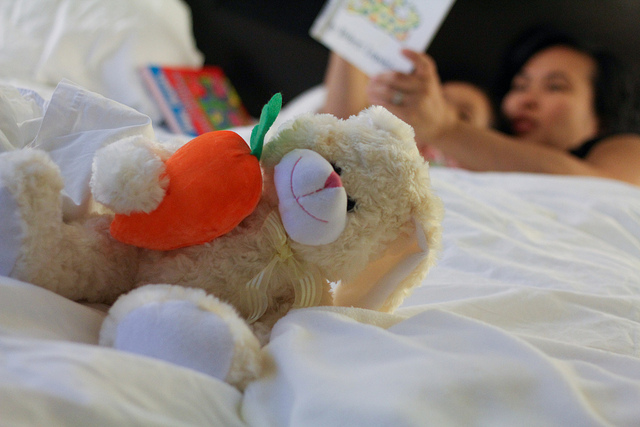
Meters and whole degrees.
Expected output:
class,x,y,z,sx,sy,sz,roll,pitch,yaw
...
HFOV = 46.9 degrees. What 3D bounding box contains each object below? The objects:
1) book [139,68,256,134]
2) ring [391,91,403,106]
class,x,y,z,sx,sy,sz,roll,pitch,yaw
book,-0.448,-0.440,2.855,0.439,0.264,0.043,6,32,32
ring,0.263,-0.395,2.512,0.027,0.048,0.026,23,-12,5
